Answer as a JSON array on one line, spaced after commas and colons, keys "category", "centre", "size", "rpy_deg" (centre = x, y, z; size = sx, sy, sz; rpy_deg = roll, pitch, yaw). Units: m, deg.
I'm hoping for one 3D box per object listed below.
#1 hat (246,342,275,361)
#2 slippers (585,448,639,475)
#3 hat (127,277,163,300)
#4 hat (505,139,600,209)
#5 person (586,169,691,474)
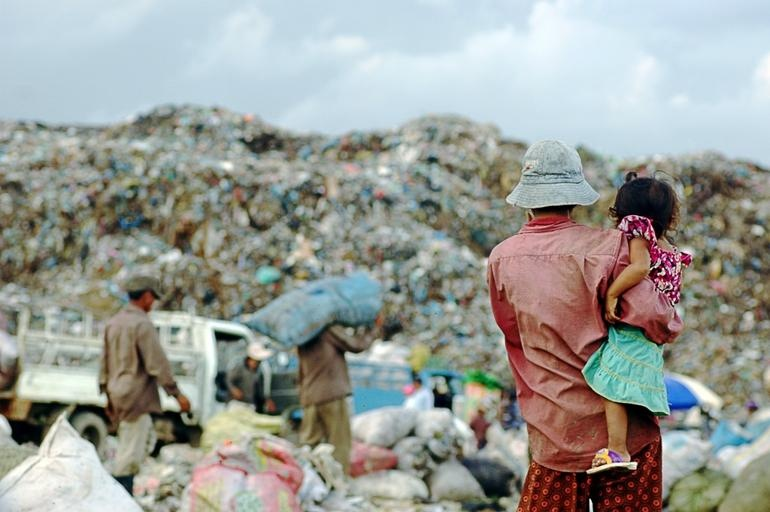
[{"category": "hat", "centre": [-0.739, 0.557, 9.734], "size": [0.124, 0.109, 0.053], "rpy_deg": [5, -23, -17]}, {"category": "slippers", "centre": [1.144, 1.037, 8.296], "size": [0.234, 0.098, 0.116], "rpy_deg": [5, -10, -33]}, {"category": "hat", "centre": [-1.415, 0.186, 9.647], "size": [0.159, 0.101, 0.127], "rpy_deg": [-15, -7, 25]}, {"category": "hat", "centre": [0.889, -0.448, 8.602], "size": [0.528, 0.342, 0.538], "rpy_deg": [-1, 6, -3]}, {"category": "person", "centre": [1.282, 0.337, 8.435], "size": [0.495, 1.565, 0.312], "rpy_deg": [2, -2, 11]}]
